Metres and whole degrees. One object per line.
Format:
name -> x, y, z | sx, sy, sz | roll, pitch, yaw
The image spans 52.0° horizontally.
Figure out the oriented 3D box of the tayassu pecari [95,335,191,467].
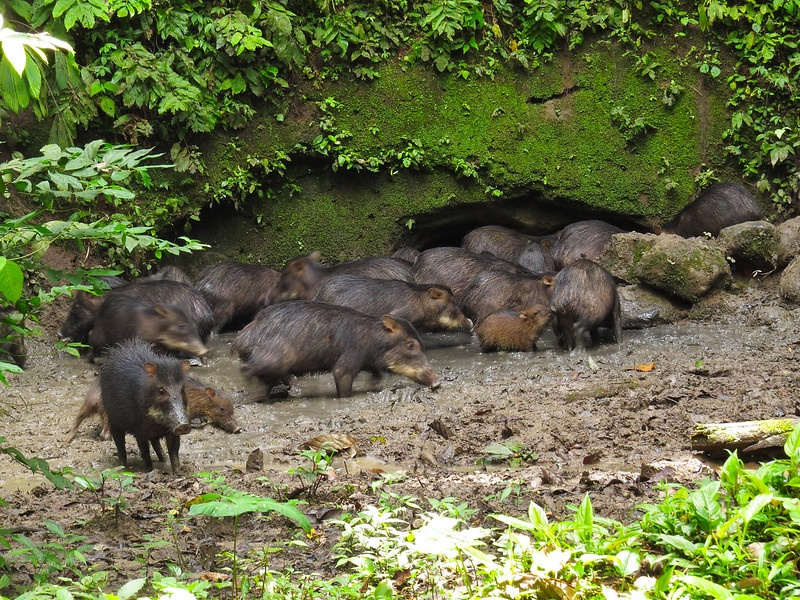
tayassu pecari -> -1.714, 0.835, 6.139 | 0.562, 0.807, 1.184 | -4, 7, -40
